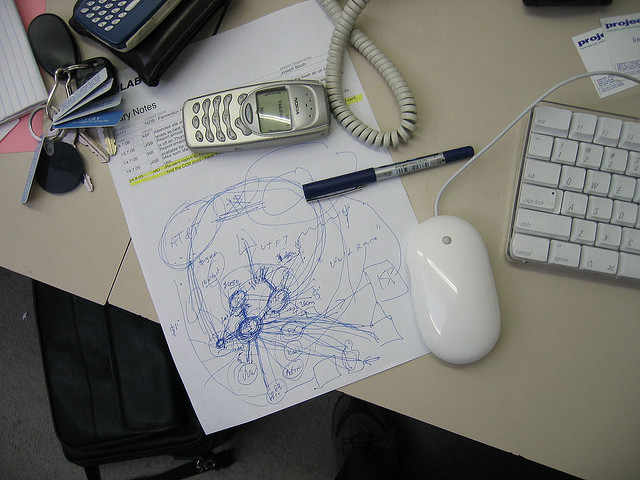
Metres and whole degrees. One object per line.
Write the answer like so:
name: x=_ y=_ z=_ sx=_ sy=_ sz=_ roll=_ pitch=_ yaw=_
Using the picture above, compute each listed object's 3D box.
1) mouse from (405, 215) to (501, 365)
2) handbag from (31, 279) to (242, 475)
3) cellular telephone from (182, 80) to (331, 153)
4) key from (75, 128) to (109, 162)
mouse: x=0.200 y=0.074 z=0.849 sx=0.122 sy=0.024 sz=0.221 roll=-12 pitch=84 yaw=5
handbag: x=-0.378 y=0.245 z=1.076 sx=0.275 sy=0.127 sz=0.400 roll=-12 pitch=84 yaw=5
cellular telephone: x=-0.101 y=-0.193 z=0.885 sx=0.229 sy=0.023 sz=0.096 roll=-6 pitch=85 yaw=6
key: x=-0.364 y=-0.150 z=0.904 sx=0.030 sy=0.006 sz=0.075 roll=-42 pitch=90 yaw=3
